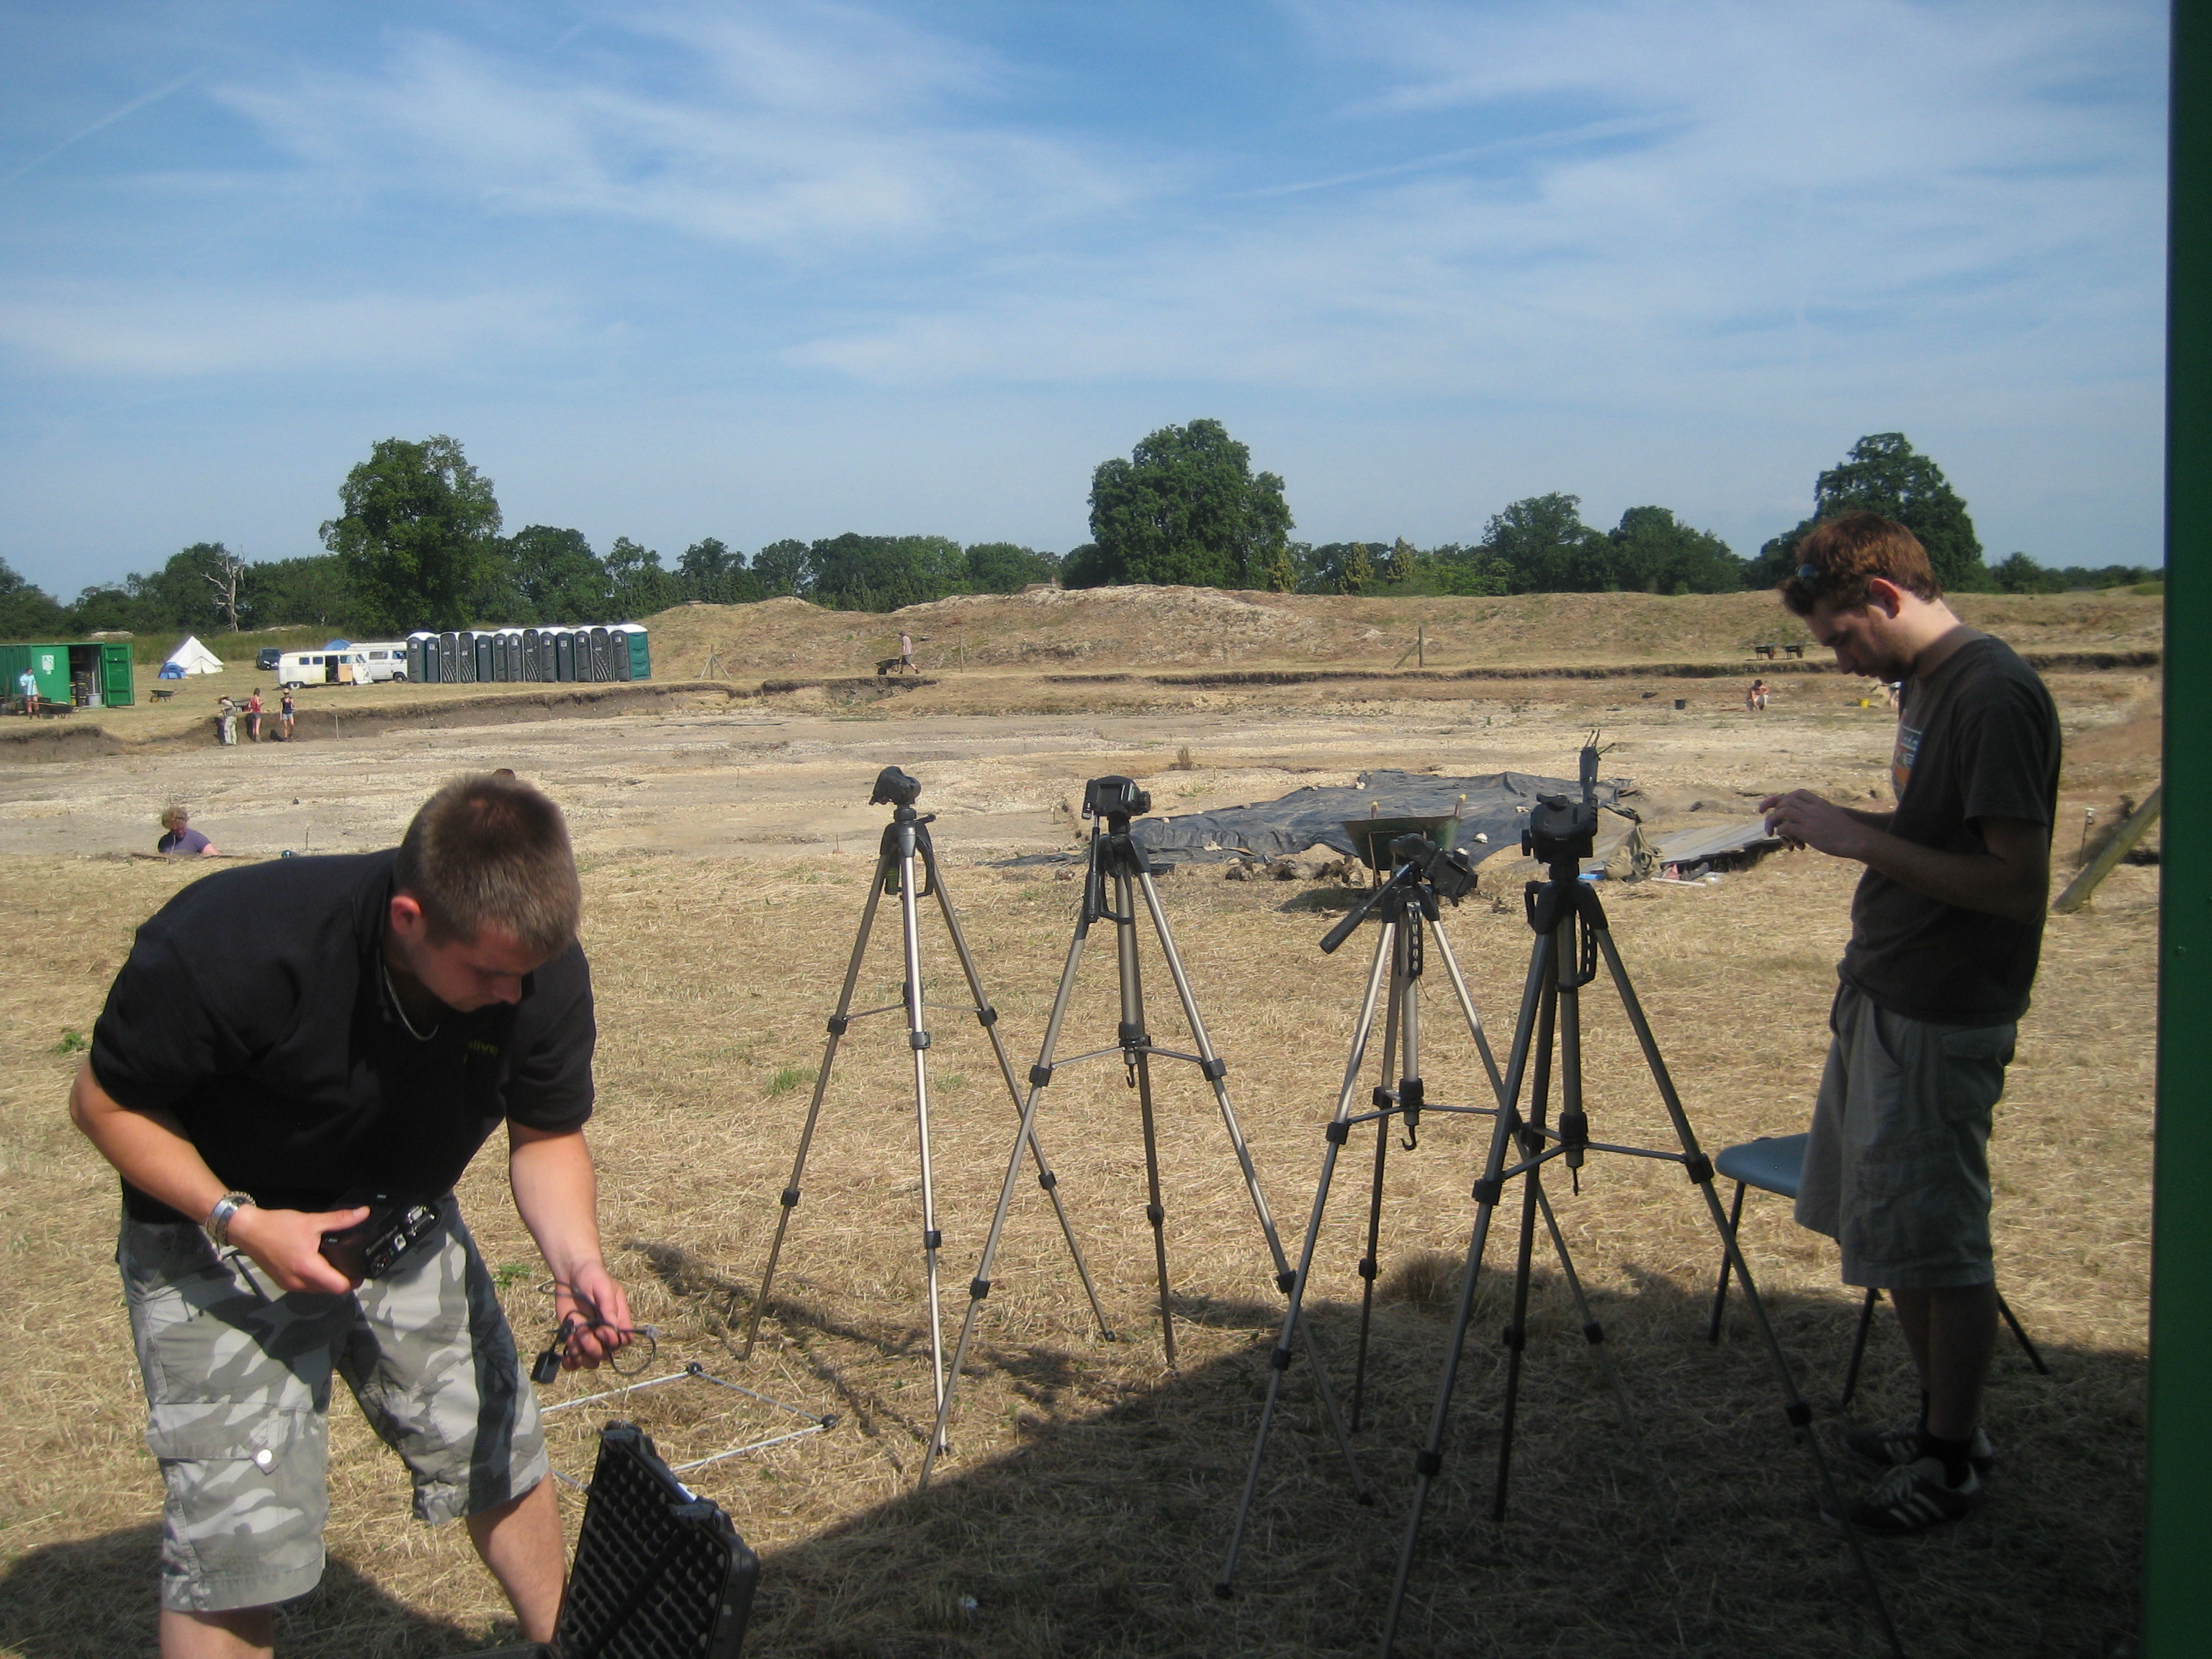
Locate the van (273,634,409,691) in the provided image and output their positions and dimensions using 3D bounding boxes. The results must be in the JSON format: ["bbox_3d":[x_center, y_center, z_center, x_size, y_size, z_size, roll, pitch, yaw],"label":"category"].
[{"bbox_3d":[-26.102,-5.599,69.189,2.544,1.493,6.558,-6,7,-1],"label":"van"}]

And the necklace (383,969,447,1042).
[{"bbox_3d":[-1.698,0.443,4.941,0.123,0.166,0.040,21,-15,-37],"label":"necklace"}]

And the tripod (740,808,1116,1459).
[{"bbox_3d":[-0.868,1.484,9.862,1.804,2.693,1.555,10,17,26],"label":"tripod"}]

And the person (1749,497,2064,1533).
[{"bbox_3d":[2.470,0.597,6.111,0.796,3.110,0.775,-2,9,26],"label":"person"}]

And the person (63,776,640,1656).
[{"bbox_3d":[-1.849,1.056,5.006,1.263,2.297,0.650,-8,9,-17],"label":"person"}]

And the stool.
[{"bbox_3d":[2.457,1.408,7.172,0.934,0.850,1.103,7,-7,-42],"label":"stool"}]
